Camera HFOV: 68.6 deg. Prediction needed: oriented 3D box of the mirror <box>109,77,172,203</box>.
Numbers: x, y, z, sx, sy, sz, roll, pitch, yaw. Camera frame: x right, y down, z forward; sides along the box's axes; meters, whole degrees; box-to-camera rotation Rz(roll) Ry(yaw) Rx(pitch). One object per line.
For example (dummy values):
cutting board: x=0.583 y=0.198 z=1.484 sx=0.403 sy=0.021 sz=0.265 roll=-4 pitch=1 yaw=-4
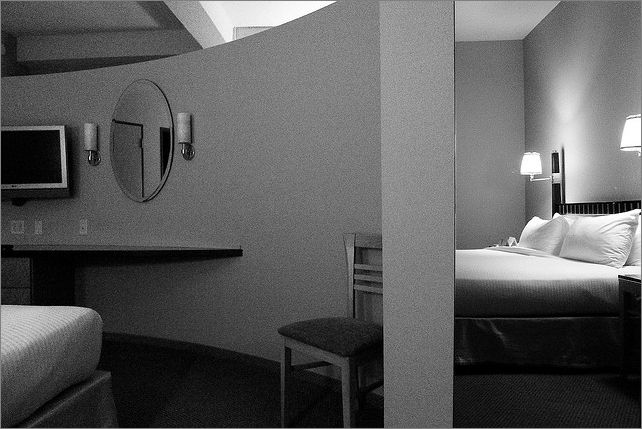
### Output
mirror: x=-1.509 y=-0.615 z=3.967 sx=0.731 sy=1.010 sz=0.025 roll=5 pitch=5 yaw=26

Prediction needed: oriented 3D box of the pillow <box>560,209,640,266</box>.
pillow: x=1.267 y=0.116 z=2.142 sx=0.238 sy=0.203 sz=0.090 roll=1 pitch=-18 yaw=26

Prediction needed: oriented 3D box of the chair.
chair: x=0.087 y=0.680 z=2.711 sx=0.599 sy=1.061 sz=0.723 roll=1 pitch=8 yaw=22

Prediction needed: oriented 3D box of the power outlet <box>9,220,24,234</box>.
power outlet: x=-2.702 y=0.117 z=4.198 sx=0.118 sy=0.129 sz=0.013 roll=1 pitch=0 yaw=1

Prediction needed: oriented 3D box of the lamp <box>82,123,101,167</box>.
lamp: x=-1.977 y=-0.614 z=4.087 sx=0.169 sy=0.329 sz=0.163 roll=-8 pitch=15 yaw=-40

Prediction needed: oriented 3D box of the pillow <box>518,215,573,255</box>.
pillow: x=0.999 y=0.100 z=2.125 sx=0.140 sy=0.136 sz=0.076 roll=11 pitch=-14 yaw=33

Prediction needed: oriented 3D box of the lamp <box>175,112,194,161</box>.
lamp: x=-1.105 y=-0.616 z=3.748 sx=0.214 sy=0.369 sz=0.126 roll=4 pitch=10 yaw=40
